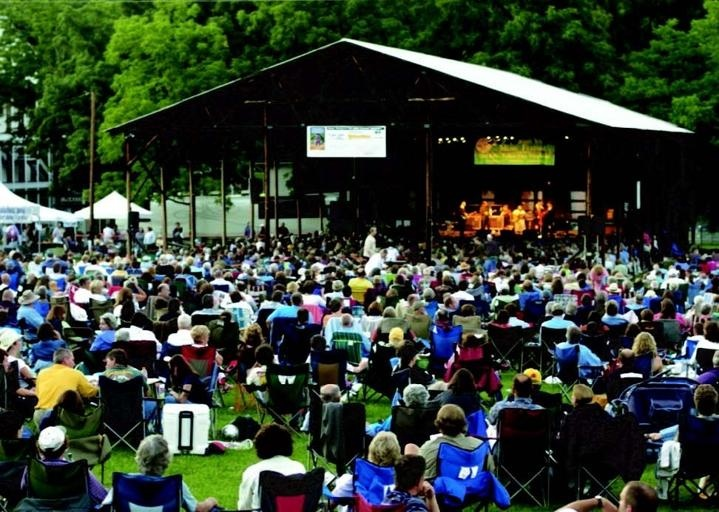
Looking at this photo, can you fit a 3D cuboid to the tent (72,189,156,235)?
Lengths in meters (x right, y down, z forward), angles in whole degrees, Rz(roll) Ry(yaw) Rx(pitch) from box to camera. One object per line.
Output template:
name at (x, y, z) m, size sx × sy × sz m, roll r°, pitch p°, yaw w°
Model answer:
tent at (-9.588, -1.843, 55.247) m, size 2.424 × 1.259 × 2.570 m, roll 0°, pitch 4°, yaw 9°

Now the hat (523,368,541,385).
hat at (3.621, 2.512, 29.301) m, size 0.369 × 0.351 × 0.285 m, roll -4°, pitch 12°, yaw -9°

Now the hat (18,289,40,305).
hat at (-7.662, 0.984, 32.771) m, size 0.312 × 0.150 × 0.358 m, roll 12°, pitch 26°, yaw 22°
